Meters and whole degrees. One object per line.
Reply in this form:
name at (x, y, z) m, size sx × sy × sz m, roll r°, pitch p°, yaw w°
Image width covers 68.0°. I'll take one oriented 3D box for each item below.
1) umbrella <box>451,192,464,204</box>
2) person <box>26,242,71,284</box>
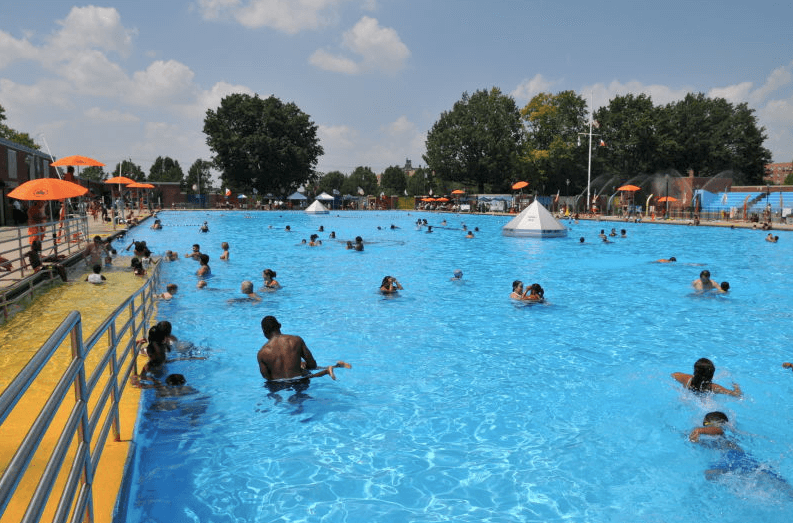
umbrella at (8.692, -9.155, 82.809) m, size 2.116 × 1.359 × 2.013 m, roll -2°, pitch 1°, yaw -7°
person at (-9.196, 0.037, 15.845) m, size 0.846 × 1.046 × 0.451 m, roll -6°, pitch 0°, yaw -43°
